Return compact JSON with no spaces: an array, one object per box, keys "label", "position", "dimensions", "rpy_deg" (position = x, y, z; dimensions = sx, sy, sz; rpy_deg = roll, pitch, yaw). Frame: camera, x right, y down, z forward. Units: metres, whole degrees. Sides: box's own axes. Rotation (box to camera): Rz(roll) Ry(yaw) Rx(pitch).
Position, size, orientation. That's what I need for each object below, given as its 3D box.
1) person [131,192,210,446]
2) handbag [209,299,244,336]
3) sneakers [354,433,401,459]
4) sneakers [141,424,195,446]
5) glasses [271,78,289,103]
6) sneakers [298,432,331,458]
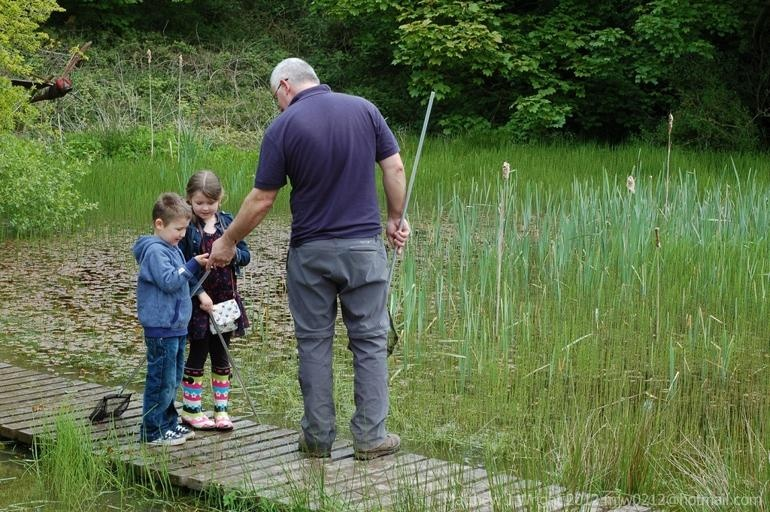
[{"label":"person","position":[-1.590,0.448,6.644],"dimensions":[0.509,1.823,0.286],"rpy_deg":[1,5,-17]},{"label":"handbag","position":[-1.211,0.449,6.863],"dimensions":[0.238,0.234,0.107],"rpy_deg":[-12,10,-34]},{"label":"sneakers","position":[-0.029,1.377,6.529],"dimensions":[0.358,0.169,0.135],"rpy_deg":[-16,22,-34]},{"label":"sneakers","position":[-1.595,1.314,6.672],"dimensions":[0.361,0.151,0.138],"rpy_deg":[-2,9,1]},{"label":"glasses","position":[-0.760,-1.204,6.576],"dimensions":[0.126,0.037,0.133],"rpy_deg":[-30,9,-8]},{"label":"sneakers","position":[-0.524,1.369,6.508],"dimensions":[0.106,0.126,0.290],"rpy_deg":[-5,20,-40]}]
